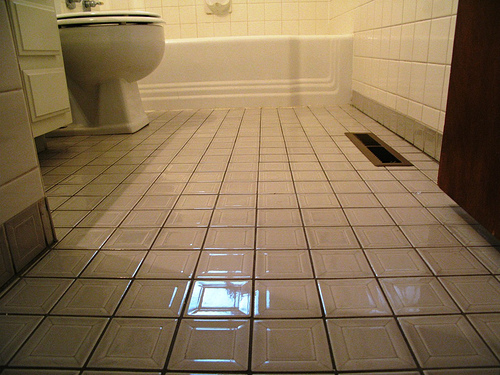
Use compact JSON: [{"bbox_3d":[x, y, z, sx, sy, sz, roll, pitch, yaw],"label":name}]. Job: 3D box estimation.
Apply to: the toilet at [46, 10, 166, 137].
[{"bbox_3d":[-0.892,-0.808,2.343,0.892,0.759,0.831,2,27,0],"label":"toilet"}]
